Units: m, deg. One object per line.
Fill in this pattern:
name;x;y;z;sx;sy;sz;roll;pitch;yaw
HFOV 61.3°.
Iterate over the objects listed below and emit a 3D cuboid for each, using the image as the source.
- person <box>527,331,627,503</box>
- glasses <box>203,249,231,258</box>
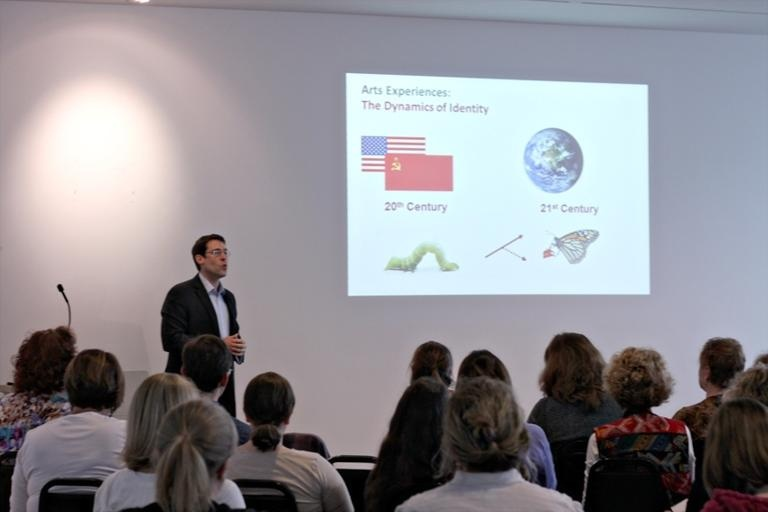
person;1.285;1.289;4.276;0.592;1.564;0.505;-5;11;0
glasses;-1.294;-0.029;4.996;0.162;0.057;0.076;3;-6;-24
